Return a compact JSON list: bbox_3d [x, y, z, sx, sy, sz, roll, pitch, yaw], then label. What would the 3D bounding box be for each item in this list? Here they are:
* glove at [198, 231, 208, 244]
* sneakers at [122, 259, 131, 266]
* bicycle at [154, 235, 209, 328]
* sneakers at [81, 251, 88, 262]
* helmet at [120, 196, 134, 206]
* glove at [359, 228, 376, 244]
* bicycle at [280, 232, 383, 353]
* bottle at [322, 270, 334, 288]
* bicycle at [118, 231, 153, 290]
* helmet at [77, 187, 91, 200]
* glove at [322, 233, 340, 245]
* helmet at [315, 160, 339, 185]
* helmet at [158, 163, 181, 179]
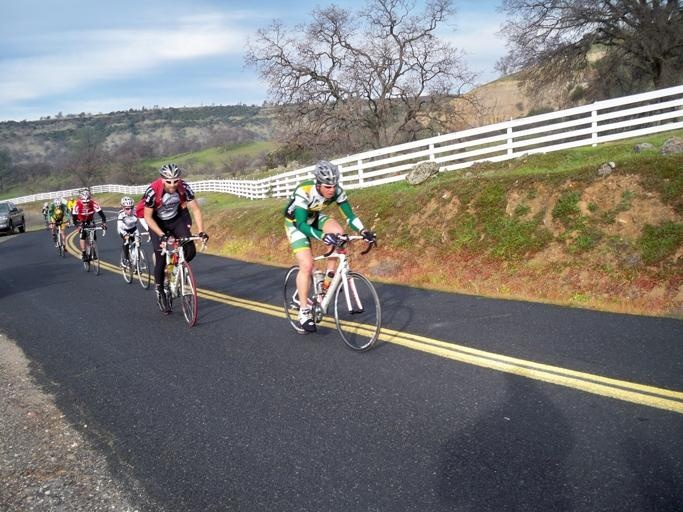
[{"bbox_3d":[-2.330,-0.287,9.714,0.167,0.104,0.242,23,6,-17],"label":"glove"},{"bbox_3d":[-5.324,0.156,14.267,0.147,0.196,0.199,-5,1,-35],"label":"sneakers"},{"bbox_3d":[-2.921,0.394,10.298,0.496,1.546,1.436,-8,9,-42],"label":"bicycle"},{"bbox_3d":[-7.312,-0.003,16.380,0.106,0.123,0.285,30,-34,-1],"label":"sneakers"},{"bbox_3d":[-5.317,-1.373,14.264,0.295,0.203,0.475,10,9,-38],"label":"helmet"},{"bbox_3d":[0.404,-0.275,8.405,0.189,0.260,0.782,-1,8,5],"label":"glove"},{"bbox_3d":[-0.117,0.452,8.946,1.280,1.716,2.068,-4,8,-13],"label":"bicycle"},{"bbox_3d":[-0.248,0.357,8.687,0.140,0.277,0.238,0,1,-38],"label":"bottle"},{"bbox_3d":[-4.916,0.126,13.835,0.739,1.162,1.630,0,5,-29],"label":"bicycle"},{"bbox_3d":[-6.947,-1.686,15.646,0.315,0.319,0.449,-2,21,-41],"label":"helmet"},{"bbox_3d":[-0.128,-0.231,8.131,0.180,0.203,0.315,2,9,29],"label":"glove"},{"bbox_3d":[-0.223,-1.162,8.220,0.235,0.408,0.132,-4,-4,-12],"label":"helmet"},{"bbox_3d":[-2.986,-1.516,9.910,0.249,0.143,0.381,-5,41,-39],"label":"helmet"}]
